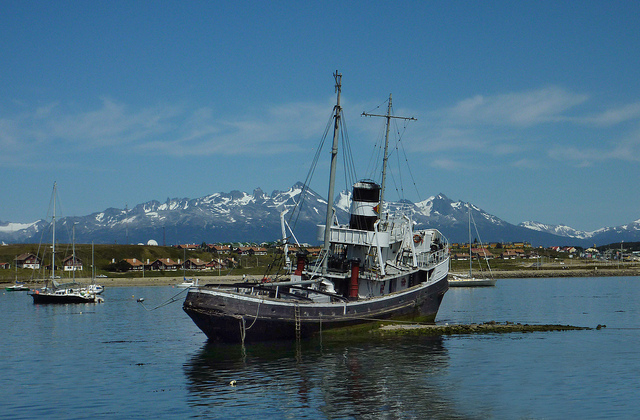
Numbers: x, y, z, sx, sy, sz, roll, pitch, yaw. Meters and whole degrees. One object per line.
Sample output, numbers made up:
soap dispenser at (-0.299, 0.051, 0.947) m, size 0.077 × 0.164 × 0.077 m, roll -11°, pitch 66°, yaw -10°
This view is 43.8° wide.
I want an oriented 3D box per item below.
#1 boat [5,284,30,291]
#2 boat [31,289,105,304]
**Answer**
boat at (-69.109, 18.035, 182.511) m, size 4.969 × 1.127 × 3.259 m, roll 0°, pitch 0°, yaw -9°
boat at (-46.442, 15.959, 144.859) m, size 10.259 × 2.370 × 3.675 m, roll 0°, pitch 0°, yaw -24°
